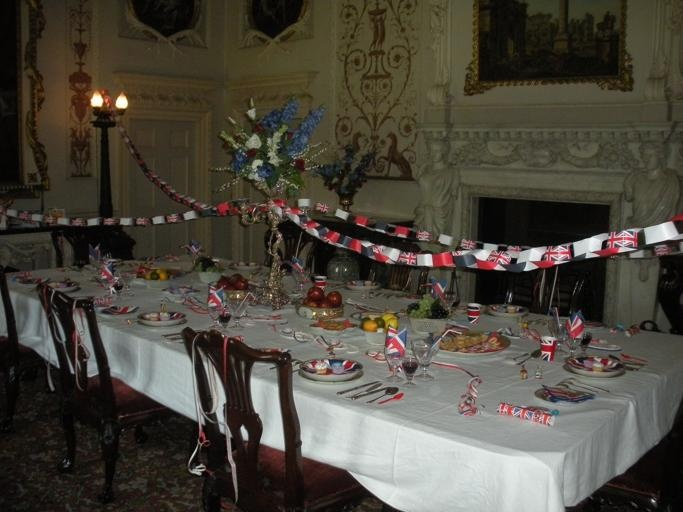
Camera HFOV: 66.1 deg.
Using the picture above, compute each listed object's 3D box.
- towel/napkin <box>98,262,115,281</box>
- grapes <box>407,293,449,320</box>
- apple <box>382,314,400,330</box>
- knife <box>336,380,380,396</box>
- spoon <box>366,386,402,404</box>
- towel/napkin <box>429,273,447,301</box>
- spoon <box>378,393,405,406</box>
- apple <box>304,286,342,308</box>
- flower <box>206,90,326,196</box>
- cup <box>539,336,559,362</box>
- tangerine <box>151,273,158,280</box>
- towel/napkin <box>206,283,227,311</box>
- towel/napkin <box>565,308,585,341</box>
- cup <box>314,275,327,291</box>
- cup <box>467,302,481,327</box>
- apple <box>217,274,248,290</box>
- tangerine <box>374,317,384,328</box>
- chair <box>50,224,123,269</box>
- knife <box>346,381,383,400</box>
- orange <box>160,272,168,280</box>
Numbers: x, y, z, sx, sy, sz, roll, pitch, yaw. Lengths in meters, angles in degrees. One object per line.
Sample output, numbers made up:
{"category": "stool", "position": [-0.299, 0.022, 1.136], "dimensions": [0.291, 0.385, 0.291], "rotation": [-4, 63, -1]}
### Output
{"category": "towel/napkin", "position": [-1.400, 0.088, 3.134], "dimensions": [0.112, 0.128, 0.066], "rotation": [5, -2, 36]}
{"category": "grapes", "position": [0.406, 0.228, 2.492], "dimensions": [0.116, 0.077, 0.134], "rotation": [0, 2, 29]}
{"category": "apple", "position": [0.222, 0.285, 2.364], "dimensions": [0.076, 0.058, 0.058], "rotation": [-11, -42, 14]}
{"category": "knife", "position": [0.060, 0.472, 1.887], "dimensions": [0.193, 0.010, 0.049], "rotation": [-6, 15, -37]}
{"category": "spoon", "position": [0.161, 0.474, 1.815], "dimensions": [0.042, 0.024, 0.180], "rotation": [15, 4, 26]}
{"category": "towel/napkin", "position": [0.489, 0.154, 2.668], "dimensions": [0.109, 0.110, 0.048], "rotation": [2, -27, 9]}
{"category": "spoon", "position": [0.171, 0.487, 1.796], "dimensions": [0.029, 0.017, 0.124], "rotation": [17, 24, 41]}
{"category": "apple", "position": [-0.104, 0.200, 2.798], "dimensions": [0.137, 0.070, 0.134], "rotation": [3, 1, -44]}
{"category": "flower", "position": [-0.378, -0.596, 2.884], "dimensions": [0.536, 0.550, 0.281], "rotation": [0, 11, -5]}
{"category": "cup", "position": [0.880, 0.395, 2.230], "dimensions": [0.088, 0.114, 0.071], "rotation": [-1, 9, -27]}
{"category": "tangerine", "position": [-1.223, 0.126, 3.446], "dimensions": [0.043, 0.063, 0.044], "rotation": [3, 4, -8]}
{"category": "towel/napkin", "position": [-0.584, 0.190, 2.551], "dimensions": [0.108, 0.134, 0.136], "rotation": [-1, -8, -11]}
{"category": "towel/napkin", "position": [1.045, 0.307, 2.353], "dimensions": [0.054, 0.116, 0.104], "rotation": [11, 22, 19]}
{"category": "cup", "position": [-0.129, 0.158, 3.167], "dimensions": [0.077, 0.090, 0.056], "rotation": [5, 18, 6]}
{"category": "cup", "position": [0.678, 0.302, 2.785], "dimensions": [0.097, 0.102, 0.100], "rotation": [0, -5, 0]}
{"category": "apple", "position": [-0.637, 0.149, 3.054], "dimensions": [0.121, 0.052, 0.120], "rotation": [0, 16, -7]}
{"category": "tangerine", "position": [0.174, 0.305, 2.421], "dimensions": [0.035, 0.043, 0.039], "rotation": [-1, 5, -2]}
{"category": "chair", "position": [-2.351, -0.113, 4.870], "dimensions": [0.439, 0.441, 0.430], "rotation": [-8, 11, -43]}
{"category": "knife", "position": [0.096, 0.473, 1.862], "dimensions": [0.035, 0.011, 0.247], "rotation": [19, 14, 34]}
{"category": "orange", "position": [-1.172, 0.126, 3.469], "dimensions": [0.049, 0.050, 0.047], "rotation": [2, 2, 11]}
